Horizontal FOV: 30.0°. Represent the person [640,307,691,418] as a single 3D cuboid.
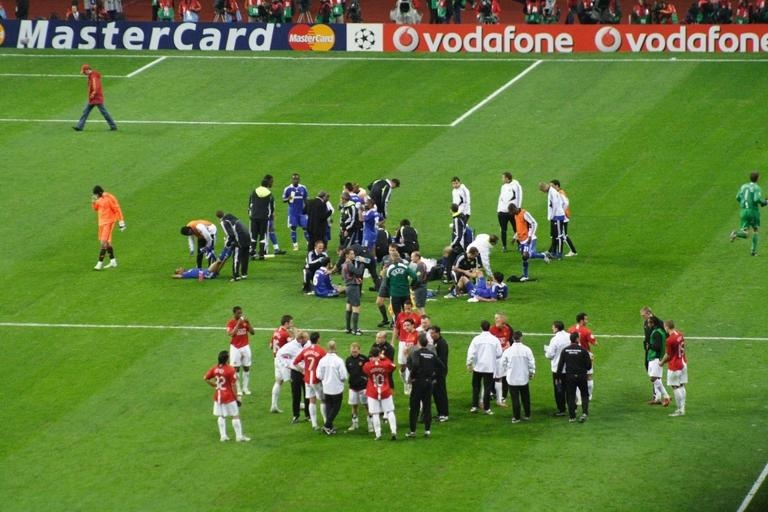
[{"bbox_3d":[8.443,3.157,43.314,1.307,3.174,0.949,0,-2,1],"label":"person"}]
